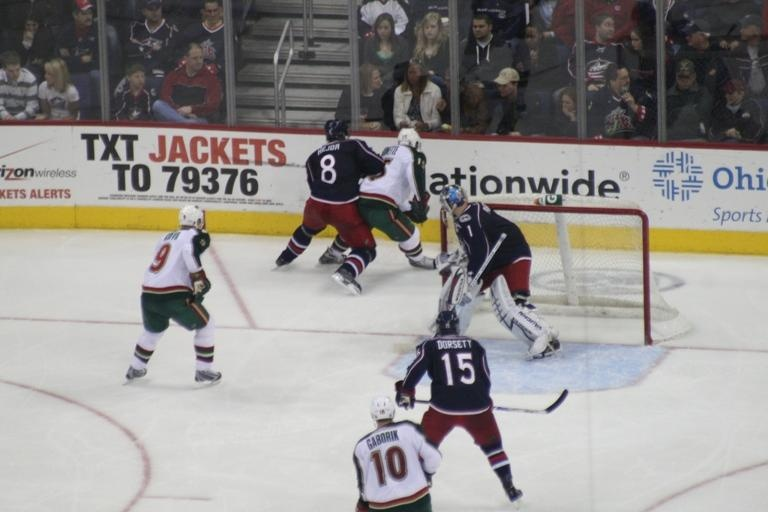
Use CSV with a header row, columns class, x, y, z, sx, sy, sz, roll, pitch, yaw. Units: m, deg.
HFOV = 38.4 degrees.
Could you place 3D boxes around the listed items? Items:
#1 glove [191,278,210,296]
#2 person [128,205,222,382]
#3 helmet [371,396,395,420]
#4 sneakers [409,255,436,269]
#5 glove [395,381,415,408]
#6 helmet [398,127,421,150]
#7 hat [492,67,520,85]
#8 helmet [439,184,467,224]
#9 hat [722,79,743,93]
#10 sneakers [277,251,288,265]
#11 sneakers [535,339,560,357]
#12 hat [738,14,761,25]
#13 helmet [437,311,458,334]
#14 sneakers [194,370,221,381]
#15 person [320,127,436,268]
class,x,y,z,sx,sy,sz,roll,pitch,yaw
glove,-1.562,0.283,9.472,0.079,0.156,0.206,3,5,33
person,-1.808,0.355,9.552,0.760,1.548,0.341,1,5,10
helmet,0.000,1.088,7.761,0.138,0.162,0.171,0,6,-1
sneakers,0.432,0.085,11.975,0.342,0.129,0.122,11,2,-18
glove,0.157,1.056,8.229,0.149,0.194,0.109,5,8,3
helmet,0.279,-1.241,11.784,0.212,0.235,0.264,2,19,15
hat,1.403,-2.032,12.471,0.239,0.117,0.162,-1,22,-3
helmet,0.611,-0.497,10.022,0.299,0.293,0.244,16,34,41
hat,3.798,-1.840,11.935,0.143,0.142,0.044,-7,-7,11
sneakers,-1.087,0.038,12.048,0.114,0.150,0.148,5,17,9
sneakers,1.444,0.855,9.858,0.329,0.127,0.098,-16,2,-40
hat,3.946,-2.533,11.828,0.174,0.087,0.107,10,16,13
helmet,0.481,0.510,8.216,0.141,0.178,0.168,-2,52,6
sneakers,-1.507,1.051,9.615,0.263,0.124,0.086,-3,20,-6
person,-0.049,-0.594,11.730,0.966,1.288,0.915,-25,43,-33
